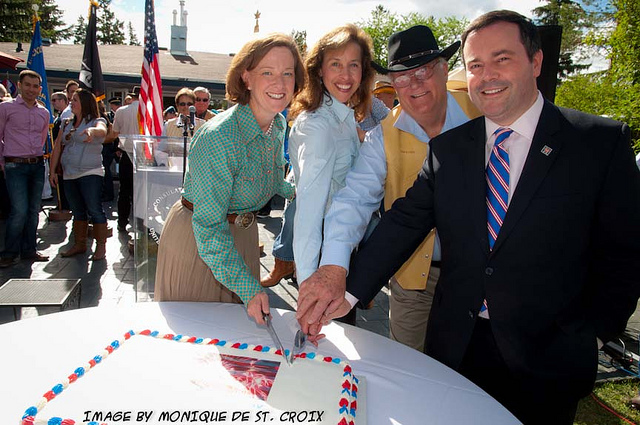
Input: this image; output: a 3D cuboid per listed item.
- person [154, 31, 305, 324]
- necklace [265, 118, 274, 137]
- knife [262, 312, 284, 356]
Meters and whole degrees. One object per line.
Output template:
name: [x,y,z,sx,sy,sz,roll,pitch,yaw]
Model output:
person: [-0.546,-0.220,2.502,0.775,1.611,0.912,5,15,14]
necklace: [-0.307,-0.491,2.482,0.016,0.091,0.090,7,16,22]
knife: [-0.246,0.568,2.069,0.050,0.034,0.353,12,17,-24]
